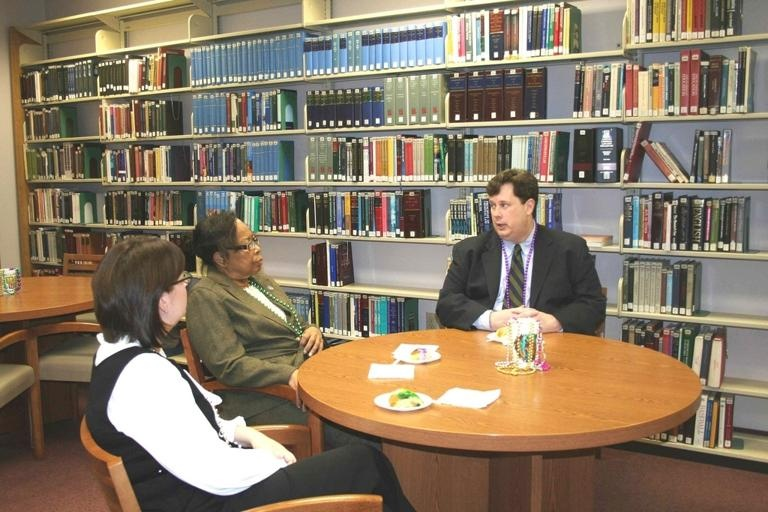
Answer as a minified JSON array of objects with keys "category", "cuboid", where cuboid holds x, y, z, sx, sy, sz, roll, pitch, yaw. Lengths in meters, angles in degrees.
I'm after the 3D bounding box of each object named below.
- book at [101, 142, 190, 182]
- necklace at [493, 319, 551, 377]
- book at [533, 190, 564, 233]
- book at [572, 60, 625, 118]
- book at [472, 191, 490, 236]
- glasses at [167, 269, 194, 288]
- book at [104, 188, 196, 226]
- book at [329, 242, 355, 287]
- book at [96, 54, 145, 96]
[{"category":"book","cuboid":[-2.295,-0.896,6.335,0.933,0.351,0.169,1,8,21]},{"category":"necklace","cuboid":[0.673,0.447,3.166,0.270,0.270,0.255,-1,2,2]},{"category":"book","cuboid":[1.228,-0.336,4.842,0.257,0.336,0.348,2,5,20]},{"category":"book","cuboid":[1.537,-1.113,4.726,0.347,0.464,0.476,1,3,24]},{"category":"book","cuboid":[0.720,-0.316,4.823,0.182,0.318,0.325,-1,6,14]},{"category":"glasses","cuboid":[-0.864,0.087,2.762,0.108,0.031,0.108,-5,9,-1]},{"category":"book","cuboid":[-2.280,-0.478,6.420,1.100,0.339,0.225,2,8,26]},{"category":"book","cuboid":[-0.365,0.072,5.540,0.133,0.363,0.380,-2,0,13]},{"category":"book","cuboid":[-2.550,-1.628,6.352,0.375,0.500,0.513,0,2,-27]}]
